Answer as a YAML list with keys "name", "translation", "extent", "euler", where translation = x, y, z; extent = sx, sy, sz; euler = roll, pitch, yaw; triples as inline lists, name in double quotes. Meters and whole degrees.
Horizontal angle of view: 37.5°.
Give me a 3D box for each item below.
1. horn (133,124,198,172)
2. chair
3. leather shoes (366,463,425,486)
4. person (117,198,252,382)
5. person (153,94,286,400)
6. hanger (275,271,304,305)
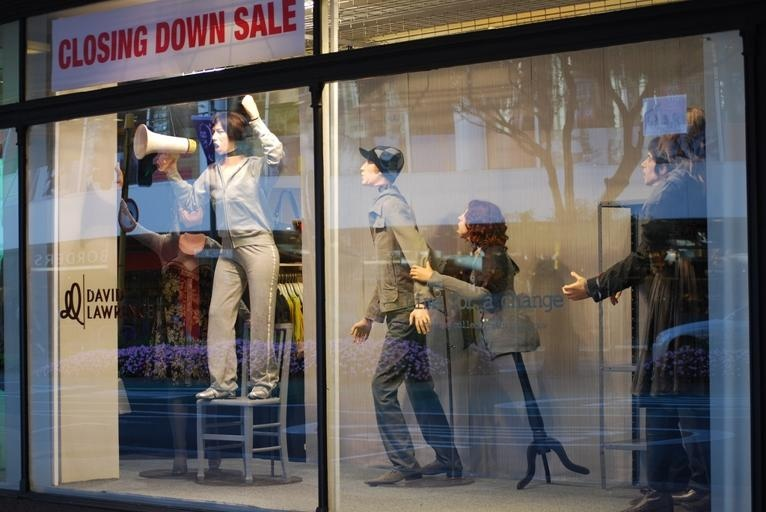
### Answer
- name: "horn"
  translation: [-1.859, -0.963, 9.657]
  extent: [0.487, 0.342, 0.311]
  euler: [5, 3, -18]
- name: "chair"
  translation: [-1.094, 1.275, 9.630]
  extent: [0.737, 1.379, 0.726]
  euler: [4, 1, 13]
- name: "leather shoes"
  translation: [0.093, 1.749, 9.081]
  extent: [0.462, 0.212, 0.148]
  euler: [-2, -5, 6]
- name: "person"
  translation: [-1.647, 0.285, 9.551]
  extent: [1.457, 1.785, 0.572]
  euler: [1, -1, -1]
- name: "person"
  translation: [-1.316, -0.032, 9.317]
  extent: [0.773, 2.518, 0.664]
  euler: [1, 0, 25]
- name: "hanger"
  translation: [-0.772, 0.261, 9.284]
  extent: [0.193, 0.269, 0.087]
  euler: [0, -4, 6]
